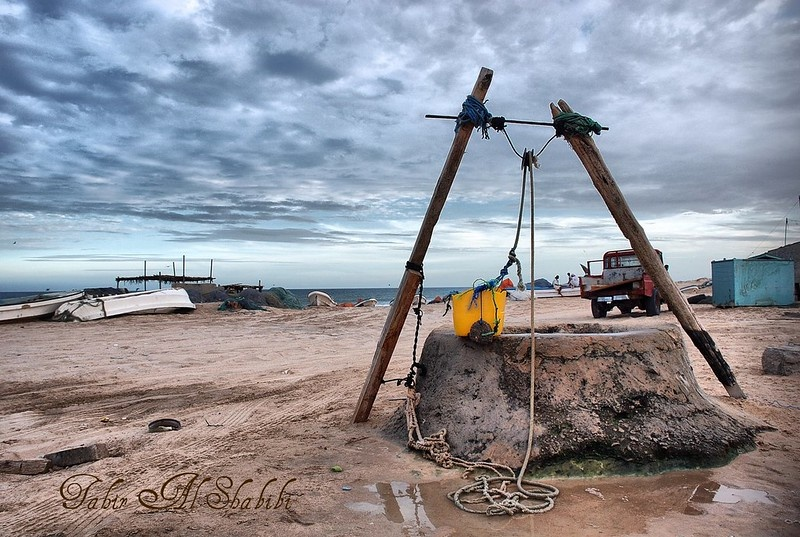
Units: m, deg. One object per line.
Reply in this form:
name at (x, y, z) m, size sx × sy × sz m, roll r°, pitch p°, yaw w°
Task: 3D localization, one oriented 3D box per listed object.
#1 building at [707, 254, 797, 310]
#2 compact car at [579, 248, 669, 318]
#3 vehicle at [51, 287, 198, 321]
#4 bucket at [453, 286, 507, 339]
building at (14.463, 0.652, 17.647) m, size 3.236 × 1.879 × 1.541 m, roll 0°, pitch -2°, yaw -7°
compact car at (8.702, 0.403, 16.424) m, size 2.223 × 1.802 × 4.150 m, roll 2°, pitch 9°, yaw 38°
vehicle at (-11.105, 1.461, 17.872) m, size 2.136 × 0.496 × 4.255 m, roll -2°, pitch 3°, yaw 37°
bucket at (0.889, 0.503, 4.748) m, size 0.712 × 0.490 × 0.536 m, roll 1°, pitch -6°, yaw 6°
